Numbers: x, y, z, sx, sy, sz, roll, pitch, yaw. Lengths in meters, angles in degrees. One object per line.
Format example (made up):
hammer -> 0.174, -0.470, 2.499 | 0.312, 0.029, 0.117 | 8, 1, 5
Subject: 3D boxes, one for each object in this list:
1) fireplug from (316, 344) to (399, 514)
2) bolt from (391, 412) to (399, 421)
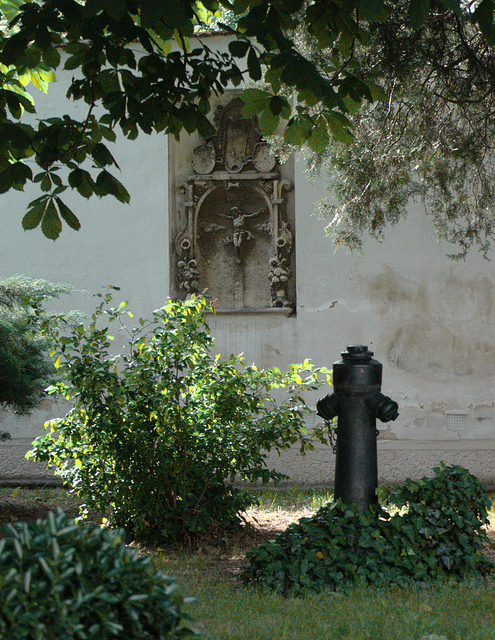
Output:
fireplug -> 0.686, 0.676, 7.883 | 0.492, 1.024, 0.296 | 0, 3, 2
bolt -> 0.910, 0.589, 7.790 | 0.044, 0.040, 0.011 | 15, -4, 44
